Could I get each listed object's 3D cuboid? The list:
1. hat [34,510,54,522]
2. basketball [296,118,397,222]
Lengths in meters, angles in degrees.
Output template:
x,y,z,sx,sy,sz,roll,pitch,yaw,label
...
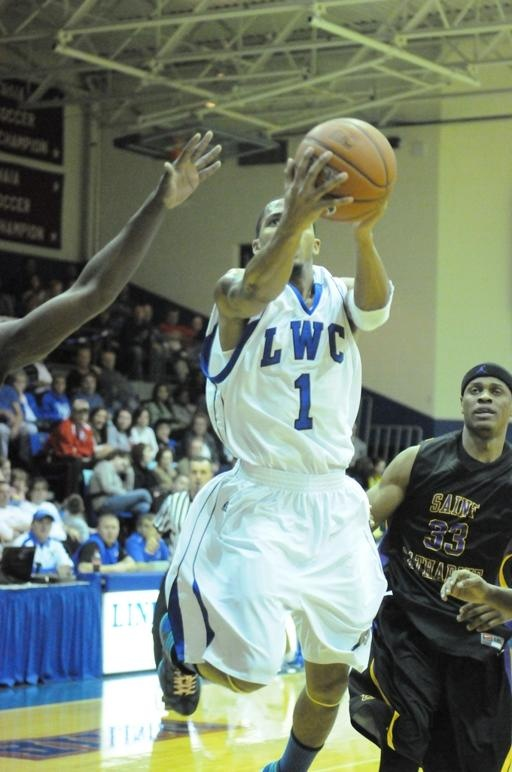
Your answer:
x,y,z,sx,sy,sz,roll,pitch,yaw,label
-1.737,1.058,7.032,0.161,0.093,0.294,3,-10,-13,hat
0.256,-0.627,2.424,0.169,0.280,0.342,-7,-13,42,basketball
